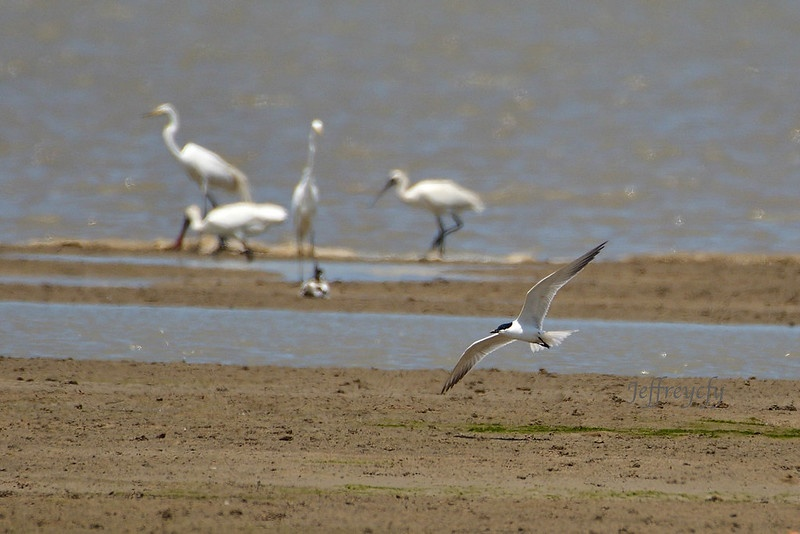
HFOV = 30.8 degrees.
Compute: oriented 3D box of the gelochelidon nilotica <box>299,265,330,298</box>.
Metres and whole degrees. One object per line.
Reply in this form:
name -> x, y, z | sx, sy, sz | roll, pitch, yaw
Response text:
gelochelidon nilotica -> -1.179, 0.211, 20.231 | 0.414, 0.430, 0.355 | 4, 5, -4
